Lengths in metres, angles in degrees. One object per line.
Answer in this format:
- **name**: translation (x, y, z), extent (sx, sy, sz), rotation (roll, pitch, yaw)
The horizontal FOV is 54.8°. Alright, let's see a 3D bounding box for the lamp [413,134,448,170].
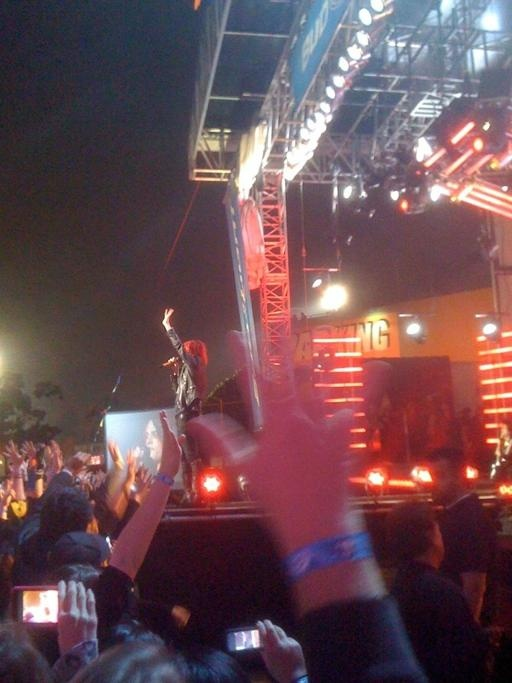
- **lamp**: translation (2.524, -2.841, 7.312), extent (0.087, 0.396, 0.413), rotation (-7, -36, -22)

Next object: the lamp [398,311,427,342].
- **lamp**: translation (4.238, -0.434, 13.365), extent (0.362, 0.326, 0.804), rotation (2, 23, 1)

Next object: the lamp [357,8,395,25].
- **lamp**: translation (1.192, -3.324, 4.949), extent (0.313, 0.140, 0.180), rotation (-6, -3, -9)

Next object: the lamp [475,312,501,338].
- **lamp**: translation (4.467, -0.354, 9.476), extent (0.380, 0.450, 0.804), rotation (-7, -3, 27)

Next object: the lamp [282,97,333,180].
- **lamp**: translation (0.773, -3.058, 7.255), extent (0.313, 1.832, 0.411), rotation (18, -18, 14)

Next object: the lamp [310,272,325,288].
- **lamp**: translation (1.717, -1.883, 14.110), extent (0.111, 0.507, 0.392), rotation (16, 4, 29)

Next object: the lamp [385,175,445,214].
- **lamp**: translation (2.606, -2.522, 8.169), extent (0.735, 0.529, 0.972), rotation (-3, -4, -41)
